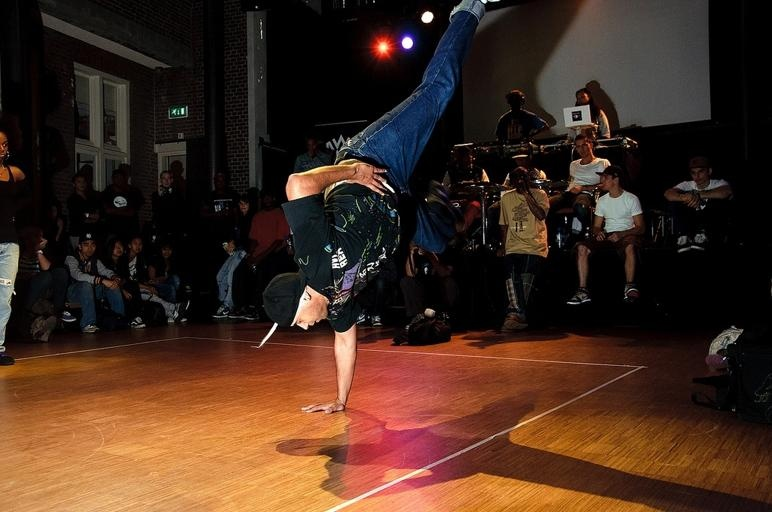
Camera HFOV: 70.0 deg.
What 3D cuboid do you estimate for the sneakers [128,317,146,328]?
[{"bbox_3d":[-3.618,0.942,7.936,0.311,0.124,0.112,4,-4,23],"label":"sneakers"}]

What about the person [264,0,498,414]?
[{"bbox_3d":[-0.075,-0.330,3.555,0.451,2.570,1.620,3,6,40],"label":"person"}]

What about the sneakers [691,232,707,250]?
[{"bbox_3d":[3.814,-0.187,6.649,0.153,0.061,0.243,10,39,37],"label":"sneakers"}]

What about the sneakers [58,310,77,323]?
[{"bbox_3d":[-4.398,0.798,7.498,0.225,0.087,0.106,4,5,35],"label":"sneakers"}]

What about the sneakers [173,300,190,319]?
[{"bbox_3d":[-3.221,0.846,8.598,0.190,0.376,0.144,4,-20,9],"label":"sneakers"}]

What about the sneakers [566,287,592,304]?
[{"bbox_3d":[2.407,0.492,6.813,0.476,0.184,0.157,2,-3,-37],"label":"sneakers"}]

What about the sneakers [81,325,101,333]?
[{"bbox_3d":[-4.016,0.959,7.400,0.245,0.099,0.078,1,-1,9],"label":"sneakers"}]

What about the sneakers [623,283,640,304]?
[{"bbox_3d":[2.915,0.425,6.513,0.137,0.141,0.331,1,-1,15],"label":"sneakers"}]

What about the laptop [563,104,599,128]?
[{"bbox_3d":[2.823,-1.999,8.062,0.372,0.222,0.354,0,2,15],"label":"laptop"}]

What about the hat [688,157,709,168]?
[{"bbox_3d":[4.060,-1.199,7.079,0.229,0.125,0.219,0,0,17],"label":"hat"}]

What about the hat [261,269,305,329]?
[{"bbox_3d":[-0.567,0.241,3.161,0.237,0.302,0.132,9,-7,21],"label":"hat"}]

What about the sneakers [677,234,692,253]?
[{"bbox_3d":[3.658,-0.157,6.717,0.145,0.204,0.169,1,5,26],"label":"sneakers"}]
